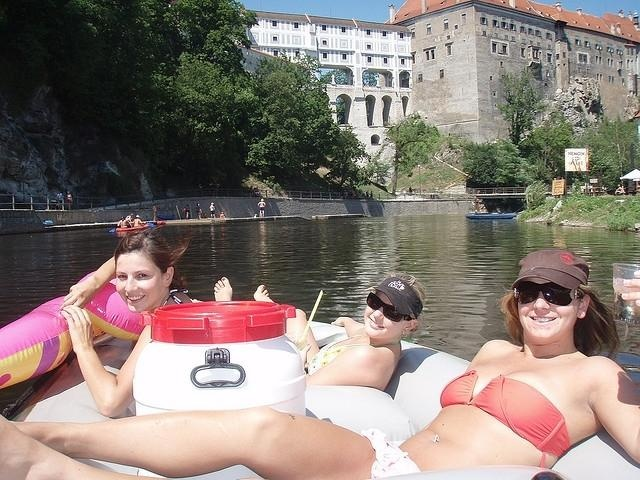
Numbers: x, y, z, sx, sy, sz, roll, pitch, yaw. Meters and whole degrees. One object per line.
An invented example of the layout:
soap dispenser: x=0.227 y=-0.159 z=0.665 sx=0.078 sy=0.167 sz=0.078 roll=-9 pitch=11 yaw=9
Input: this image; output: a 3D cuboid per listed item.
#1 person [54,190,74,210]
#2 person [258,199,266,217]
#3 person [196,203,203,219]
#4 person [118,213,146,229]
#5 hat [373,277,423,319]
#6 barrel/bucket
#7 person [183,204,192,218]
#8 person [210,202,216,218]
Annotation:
person: x=-16.251 y=-2.501 z=37.989 sx=0.777 sy=0.937 sz=1.342 roll=0 pitch=4 yaw=4
person: x=-5.020 y=-2.797 z=51.480 sx=0.603 sy=1.469 sz=2.332 roll=-1 pitch=4 yaw=-6
person: x=-9.512 y=-2.323 z=47.292 sx=0.487 sy=1.163 sz=1.699 roll=-2 pitch=4 yaw=-11
person: x=-9.140 y=-0.970 z=28.910 sx=1.409 sy=0.668 sz=1.921 roll=0 pitch=2 yaw=-11
hat: x=0.515 y=0.386 z=4.000 sx=0.171 sy=0.125 sz=0.277 roll=42 pitch=2 yaw=17
barrel/bucket: x=-0.457 y=0.642 z=2.843 sx=0.598 sy=0.637 sz=0.590 roll=0 pitch=2 yaw=0
person: x=-10.320 y=-2.201 z=46.335 sx=0.503 sy=0.998 sz=0.883 roll=-2 pitch=4 yaw=-16
person: x=-8.674 y=-2.435 z=48.413 sx=0.511 sy=1.181 sz=1.421 roll=-2 pitch=4 yaw=-11
